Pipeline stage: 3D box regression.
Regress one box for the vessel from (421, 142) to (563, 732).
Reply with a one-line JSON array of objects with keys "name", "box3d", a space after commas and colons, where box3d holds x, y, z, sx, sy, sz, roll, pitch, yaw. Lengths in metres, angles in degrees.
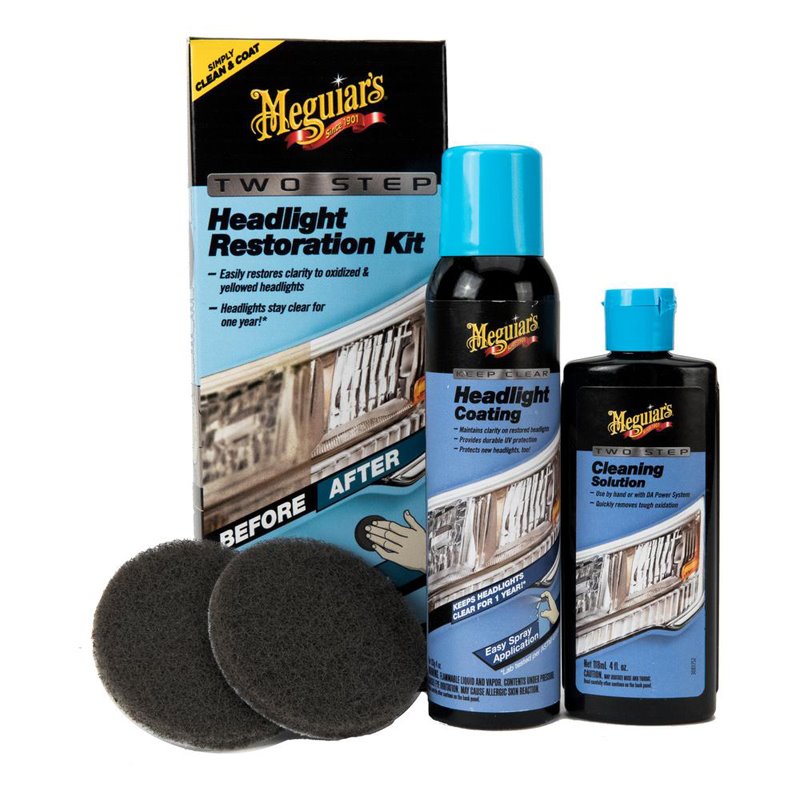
[{"name": "vessel", "box3d": [0.136, 0.061, 1.359, 0.199, 0.864, 0.216, -2, 13, 8]}]
